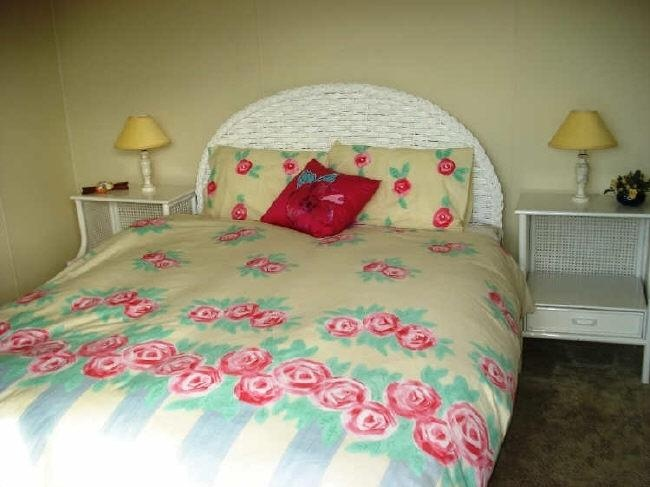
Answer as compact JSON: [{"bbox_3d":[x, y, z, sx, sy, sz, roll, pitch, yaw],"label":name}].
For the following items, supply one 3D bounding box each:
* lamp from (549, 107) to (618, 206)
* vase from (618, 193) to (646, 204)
[{"bbox_3d":[1.395,-0.483,2.601,0.324,0.501,0.341,2,13,17],"label":"lamp"},{"bbox_3d":[1.566,-0.234,2.412,0.087,0.037,0.077,1,12,-1],"label":"vase"}]
